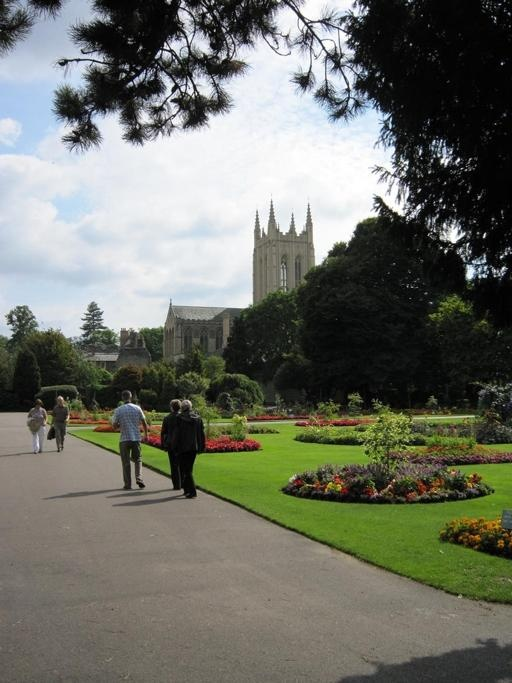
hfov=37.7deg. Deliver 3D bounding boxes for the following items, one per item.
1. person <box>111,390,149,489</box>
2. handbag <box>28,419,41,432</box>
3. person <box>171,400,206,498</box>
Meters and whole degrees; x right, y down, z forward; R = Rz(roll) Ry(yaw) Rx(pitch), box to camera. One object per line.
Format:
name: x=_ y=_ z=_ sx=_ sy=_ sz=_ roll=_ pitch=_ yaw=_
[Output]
person: x=-2.165 y=1.610 z=12.696 sx=0.561 sy=1.571 sz=1.995 roll=1 pitch=-1 yaw=-10
handbag: x=-5.753 y=2.171 z=19.454 sx=0.331 sy=0.295 sz=0.519 roll=1 pitch=-1 yaw=-18
person: x=-1.013 y=1.609 z=11.360 sx=0.431 sy=1.415 sz=1.220 roll=1 pitch=-1 yaw=-5
